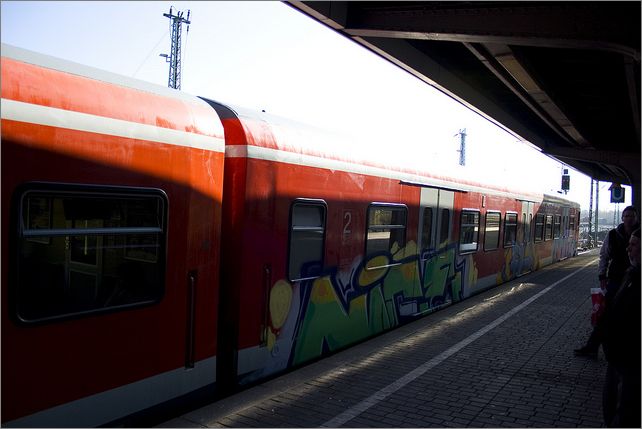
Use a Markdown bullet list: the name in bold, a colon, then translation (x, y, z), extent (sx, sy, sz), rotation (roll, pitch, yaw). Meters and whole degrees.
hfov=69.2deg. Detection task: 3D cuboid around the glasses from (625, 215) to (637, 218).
- **glasses**: translation (4.994, 0.038, 7.515), extent (0.136, 0.053, 0.077), rotation (6, 6, 33)
